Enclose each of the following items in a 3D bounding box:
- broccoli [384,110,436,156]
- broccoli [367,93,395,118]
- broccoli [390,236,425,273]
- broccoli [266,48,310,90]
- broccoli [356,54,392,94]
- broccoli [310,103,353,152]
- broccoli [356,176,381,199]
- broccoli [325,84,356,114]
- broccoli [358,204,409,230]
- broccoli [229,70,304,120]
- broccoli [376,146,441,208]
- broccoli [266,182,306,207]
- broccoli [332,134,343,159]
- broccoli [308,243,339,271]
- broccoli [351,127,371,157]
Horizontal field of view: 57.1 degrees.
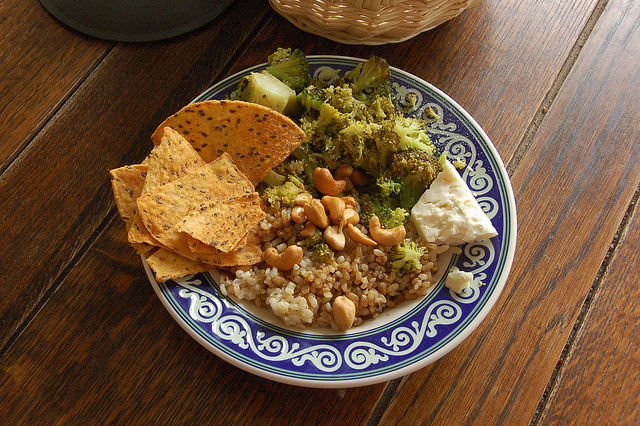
[{"bbox_3d":[0.395,-0.319,2.600,0.170,0.079,0.178,36,52,-5],"label":"broccoli"},{"bbox_3d":[0.269,-0.468,2.599,0.094,0.037,0.103,17,66,29],"label":"broccoli"},{"bbox_3d":[0.365,0.178,2.452,0.133,0.062,0.135,5,83,-1],"label":"broccoli"},{"bbox_3d":[-0.142,-0.648,2.636,0.164,0.076,0.191,3,73,2],"label":"broccoli"},{"bbox_3d":[0.236,-0.616,2.630,0.171,0.113,0.125,-38,83,10],"label":"broccoli"},{"bbox_3d":[0.042,-0.382,2.572,0.190,0.084,0.192,-36,100,6],"label":"broccoli"},{"bbox_3d":[0.223,-0.112,2.629,0.083,0.023,0.097,2,82,19],"label":"broccoli"},{"bbox_3d":[0.088,-0.496,2.574,0.122,0.034,0.139,-1,87,-6],"label":"broccoli"},{"bbox_3d":[0.262,0.024,2.511,0.143,0.066,0.119,-16,115,3],"label":"broccoli"},{"bbox_3d":[-0.214,-0.481,2.624,0.192,0.247,0.094,37,97,37],"label":"broccoli"},{"bbox_3d":[0.377,-0.147,2.596,0.251,0.222,0.256,8,84,-17],"label":"broccoli"},{"bbox_3d":[-0.156,-0.081,2.533,0.127,0.059,0.093,-35,44,-26],"label":"broccoli"},{"bbox_3d":[0.073,-0.290,2.579,0.052,0.023,0.091,22,90,-8],"label":"broccoli"},{"bbox_3d":[0.016,0.177,2.468,0.108,0.070,0.100,25,94,6],"label":"broccoli"},{"bbox_3d":[0.178,-0.308,2.537,0.065,0.025,0.112,4,84,-12],"label":"broccoli"}]
